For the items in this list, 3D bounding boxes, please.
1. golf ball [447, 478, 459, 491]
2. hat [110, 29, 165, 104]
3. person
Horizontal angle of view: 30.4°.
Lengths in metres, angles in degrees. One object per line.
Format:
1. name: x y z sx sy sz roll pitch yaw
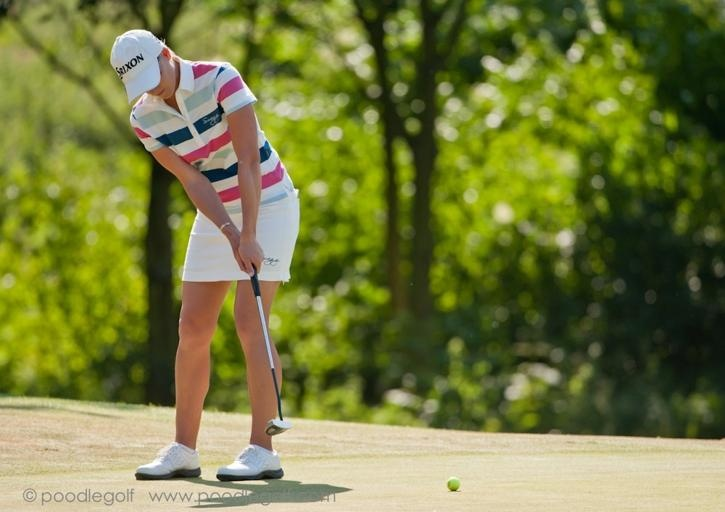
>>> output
1. golf ball: 0.691 1.747 10.106 0.080 0.085 0.086 -4 -45 -4
2. hat: -1.729 -1.505 10.304 0.366 0.570 0.302 -17 -33 28
3. person: -1.228 0.000 10.499 1.504 3.591 1.045 0 -5 -32
